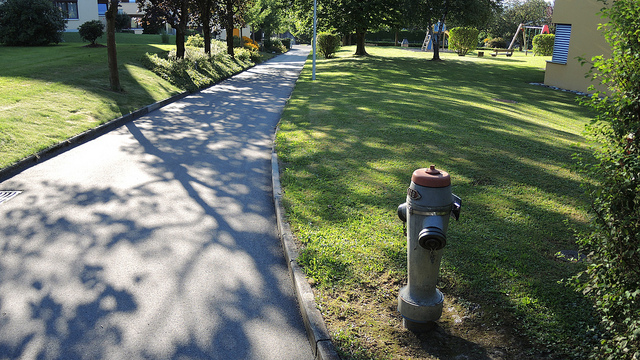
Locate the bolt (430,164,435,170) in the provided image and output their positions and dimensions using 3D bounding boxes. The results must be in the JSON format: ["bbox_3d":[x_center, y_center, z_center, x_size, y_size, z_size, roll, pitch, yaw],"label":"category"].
[{"bbox_3d":[1.922,-0.226,7.358,0.054,0.050,0.054,-3,5,-19],"label":"bolt"}]

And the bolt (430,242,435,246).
[{"bbox_3d":[1.904,1.088,7.311,0.075,0.068,0.004,7,22,7],"label":"bolt"}]
